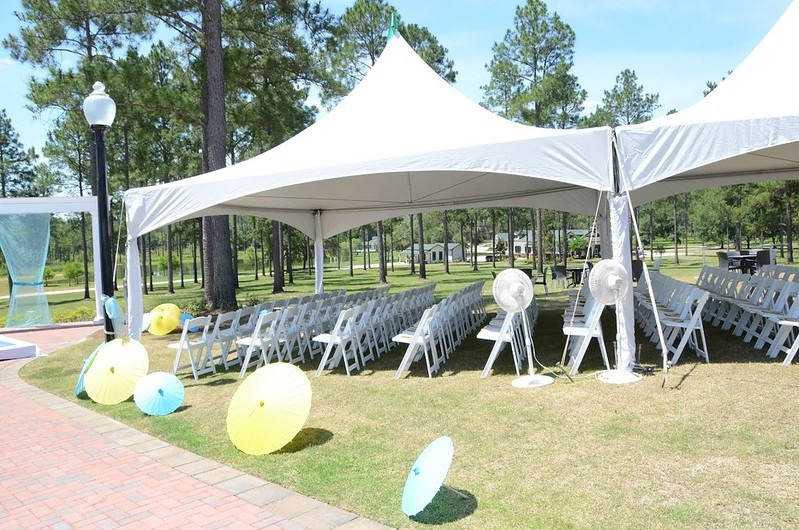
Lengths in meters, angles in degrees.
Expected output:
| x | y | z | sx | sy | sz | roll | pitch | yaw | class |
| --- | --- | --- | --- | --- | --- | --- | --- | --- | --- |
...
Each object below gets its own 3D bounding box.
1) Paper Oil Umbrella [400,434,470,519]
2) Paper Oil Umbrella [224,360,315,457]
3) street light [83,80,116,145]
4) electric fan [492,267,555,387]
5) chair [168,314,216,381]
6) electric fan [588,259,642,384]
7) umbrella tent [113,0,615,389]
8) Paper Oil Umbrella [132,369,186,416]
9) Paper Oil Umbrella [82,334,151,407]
| x | y | z | sx | sy | sz | roll | pitch | yaw | class |
| --- | --- | --- | --- | --- | --- | --- | --- | --- | --- |
| 0.327 | 2.412 | 7.038 | 0.618 | 0.750 | 0.402 | -3 | 3 | -26 | Paper Oil Umbrella |
| -1.786 | 1.959 | 8.292 | 1.136 | 0.272 | 1.258 | -5 | 39 | 1 | Paper Oil Umbrella |
| -5.153 | -2.724 | 10.533 | 0.521 | 0.903 | 0.531 | -10 | -6 | 39 | street light |
| 2.024 | 0.929 | 9.943 | 0.837 | 1.817 | 1.780 | -1 | 3 | 14 | electric fan |
| -3.715 | 1.397 | 11.075 | 0.703 | 1.085 | 1.803 | -3 | 3 | -18 | chair |
| 3.222 | 0.853 | 9.227 | 0.943 | 1.877 | 0.566 | -4 | 4 | -43 | electric fan |
| 0.267 | -1.894 | 14.220 | 7.867 | 6.512 | 8.412 | 1 | 4 | 12 | umbrella tent |
| -3.663 | 1.865 | 9.299 | 0.816 | 0.868 | 0.199 | -3 | 37 | -35 | Paper Oil Umbrella |
| -4.510 | 1.654 | 9.788 | 0.916 | 0.990 | 0.376 | -24 | -1 | -9 | Paper Oil Umbrella |
